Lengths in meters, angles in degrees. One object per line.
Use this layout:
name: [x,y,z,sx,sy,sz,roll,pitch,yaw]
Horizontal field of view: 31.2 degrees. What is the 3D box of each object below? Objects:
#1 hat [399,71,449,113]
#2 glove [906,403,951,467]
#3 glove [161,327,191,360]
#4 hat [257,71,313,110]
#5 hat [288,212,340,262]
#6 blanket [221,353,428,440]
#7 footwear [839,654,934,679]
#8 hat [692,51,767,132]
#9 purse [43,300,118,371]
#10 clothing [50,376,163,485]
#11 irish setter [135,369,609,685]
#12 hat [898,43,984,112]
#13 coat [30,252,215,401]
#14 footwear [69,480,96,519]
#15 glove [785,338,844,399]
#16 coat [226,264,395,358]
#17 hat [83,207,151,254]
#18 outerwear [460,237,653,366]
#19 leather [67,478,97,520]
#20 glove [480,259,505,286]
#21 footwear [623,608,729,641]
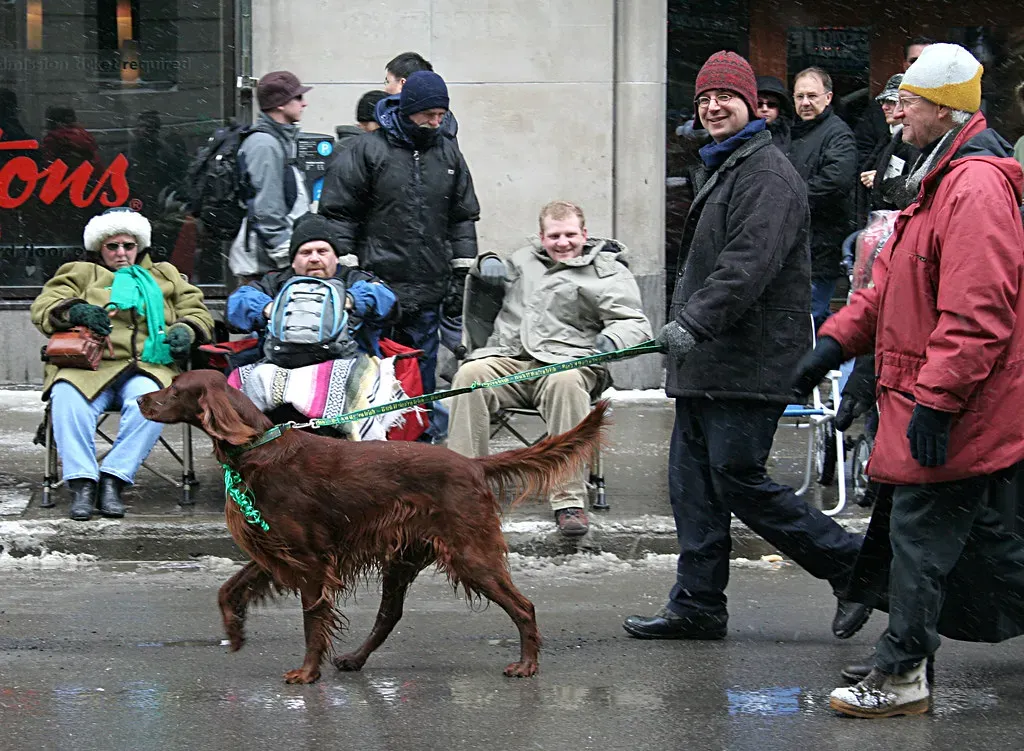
hat: [-0.557,-1.837,11.942,0.368,0.222,0.310,1,-2,-1]
glove: [1.946,0.293,8.536,0.206,0.279,0.093,5,15,27]
glove: [-2.108,-0.192,11.561,0.214,0.181,0.107,0,-7,1]
hat: [-1.608,-1.980,12.765,0.397,0.147,0.246,-19,20,-5]
hat: [-1.227,-0.869,11.491,0.301,0.243,0.338,-3,-11,-5]
blanket: [-1.045,0.087,10.973,0.782,0.210,0.765,-3,9,-45]
footwear: [1.829,1.487,9.104,0.517,0.161,0.147,2,-1,-8]
hat: [1.184,-1.569,9.740,0.412,0.326,0.400,-3,2,16]
purse: [-2.708,-0.231,11.502,0.454,0.426,0.265,10,-34,24]
clothing: [-2.539,0.356,11.422,0.804,0.665,0.498,6,-23,-17]
irish setter: [-0.745,0.793,9.412,3.222,1.514,0.742,4,-7,-39]
hat: [2.065,-1.423,8.865,0.401,0.237,0.327,11,16,17]
coat: [-2.601,-0.346,11.903,0.838,0.959,1.344,14,7,38]
footwear: [-2.644,0.796,11.303,0.259,0.246,0.691,2,-5,-14]
glove: [1.541,-0.017,9.249,0.356,0.196,0.153,-39,-23,9]
coat: [-1.233,-0.418,11.378,1.193,0.661,0.603,-2,-15,0]
hat: [-2.532,-0.932,11.779,0.356,0.174,0.365,0,-9,-26]
outerwear: [0.250,-0.436,11.509,1.198,0.678,0.596,14,-10,36]
leather: [-2.646,0.791,11.312,0.268,0.254,0.715,2,-6,-15]
glove: [-0.107,-0.639,11.584,0.161,0.153,0.082,-10,-4,1]
footwear: [0.889,1.371,9.847,0.589,0.172,0.176,3,-3,-1]
